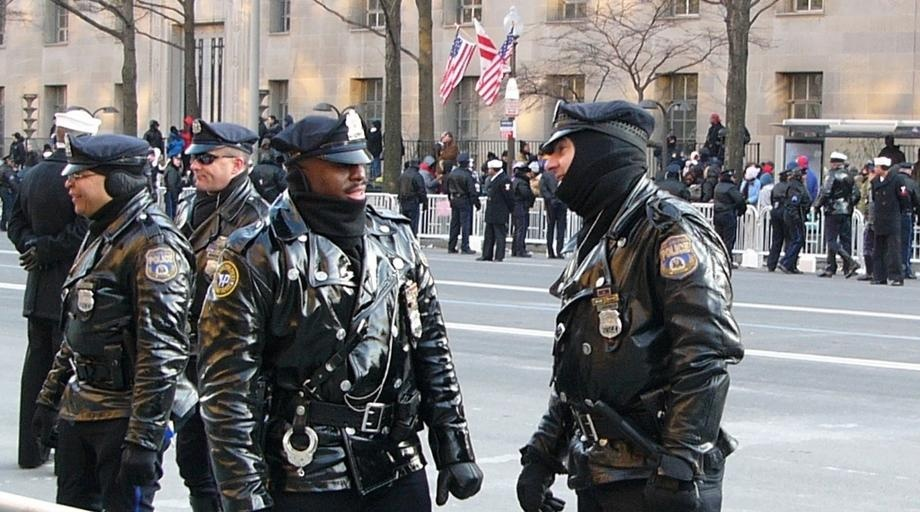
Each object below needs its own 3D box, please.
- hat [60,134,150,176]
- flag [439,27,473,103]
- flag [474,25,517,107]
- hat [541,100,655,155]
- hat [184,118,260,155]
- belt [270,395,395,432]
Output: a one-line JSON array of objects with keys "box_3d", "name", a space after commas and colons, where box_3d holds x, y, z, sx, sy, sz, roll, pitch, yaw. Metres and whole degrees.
[{"box_3d": [-4.502, -1.256, 18.332, 1.475, 0.588, 0.382, 5, 1, 19], "name": "hat"}, {"box_3d": [-0.045, -4.993, 38.228, 1.047, 2.312, 0.701, 0, 0, -16], "name": "flag"}, {"box_3d": [0.831, -4.755, 37.780, 0.974, 2.241, 0.848, 1, 0, 26], "name": "flag"}, {"box_3d": [1.727, -1.562, 17.614, 0.941, 0.332, 0.767, -1, -1, 3], "name": "hat"}, {"box_3d": [-3.222, -1.592, 19.547, 0.758, 0.283, 0.528, -2, 2, -19], "name": "hat"}, {"box_3d": [-1.404, 1.882, 17.231, 1.155, 0.359, 0.082, 1, 3, -6], "name": "belt"}]
